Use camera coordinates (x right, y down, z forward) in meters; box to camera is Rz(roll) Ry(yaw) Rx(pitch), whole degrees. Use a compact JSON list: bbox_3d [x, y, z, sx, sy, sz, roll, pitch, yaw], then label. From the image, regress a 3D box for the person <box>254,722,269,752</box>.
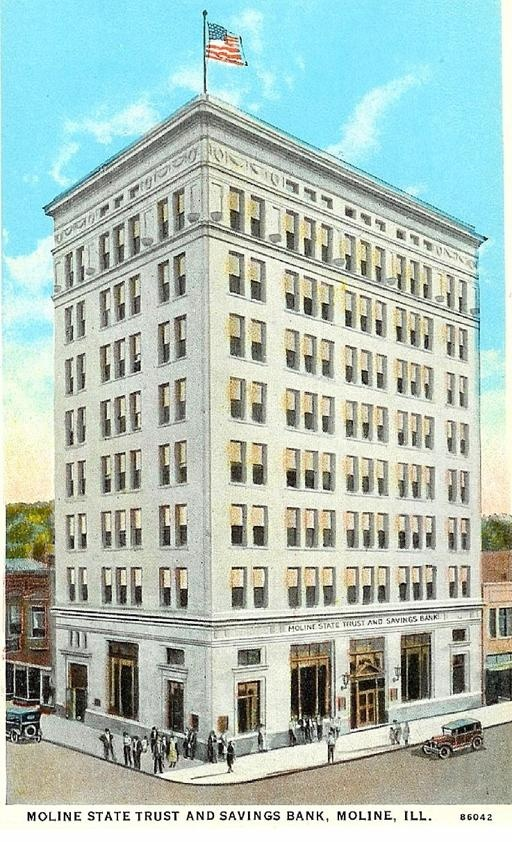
[{"bbox_3d":[0.197,11.860,50.965,0.480,0.992,0.300,1,-10,-11],"label":"person"}]
